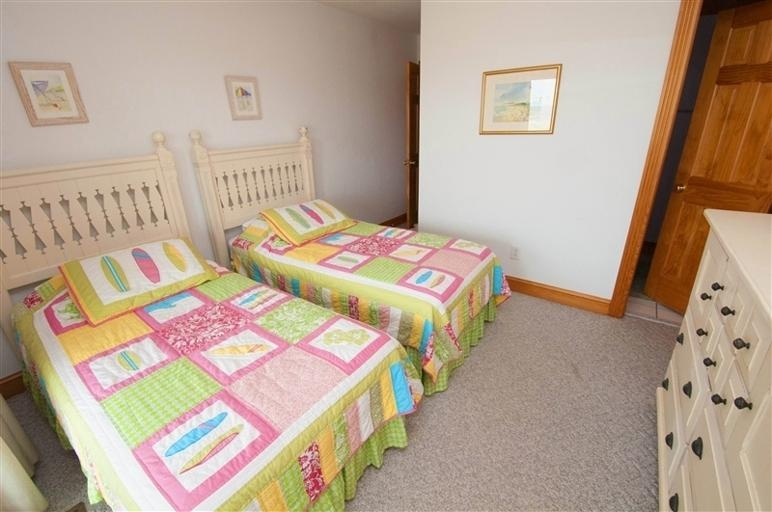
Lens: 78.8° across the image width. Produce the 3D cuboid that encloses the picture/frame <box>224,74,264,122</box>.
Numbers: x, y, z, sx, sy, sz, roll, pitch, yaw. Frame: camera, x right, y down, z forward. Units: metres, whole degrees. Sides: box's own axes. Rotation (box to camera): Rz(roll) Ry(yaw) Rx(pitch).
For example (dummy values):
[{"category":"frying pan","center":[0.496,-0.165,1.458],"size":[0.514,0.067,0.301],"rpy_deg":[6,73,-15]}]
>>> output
[{"category":"picture/frame","center":[-1.266,-1.417,4.220],"size":[0.023,0.379,0.382],"rpy_deg":[8,21,31]}]

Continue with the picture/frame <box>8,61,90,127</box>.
[{"category":"picture/frame","center":[-2.404,-1.160,3.327],"size":[0.414,0.475,0.016],"rpy_deg":[-26,22,-39]}]

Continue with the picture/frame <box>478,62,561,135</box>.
[{"category":"picture/frame","center":[1.171,-1.374,4.033],"size":[0.641,0.514,0.043],"rpy_deg":[13,30,30]}]
